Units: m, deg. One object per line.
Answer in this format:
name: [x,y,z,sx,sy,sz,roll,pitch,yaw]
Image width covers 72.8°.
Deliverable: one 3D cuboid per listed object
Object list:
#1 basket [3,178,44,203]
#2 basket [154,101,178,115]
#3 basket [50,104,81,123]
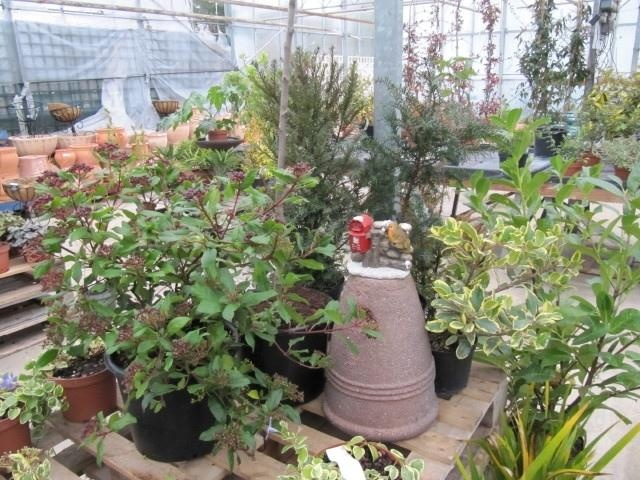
basket: [-2.359,-0.368,3.422,0.203,0.216,0.533,-12,20,-31]
basket: [-2.215,-1.883,6.216,0.336,0.163,0.305,-2,16,-7]
basket: [-3.553,-1.750,6.045,0.329,0.272,0.447,-8,18,-21]
